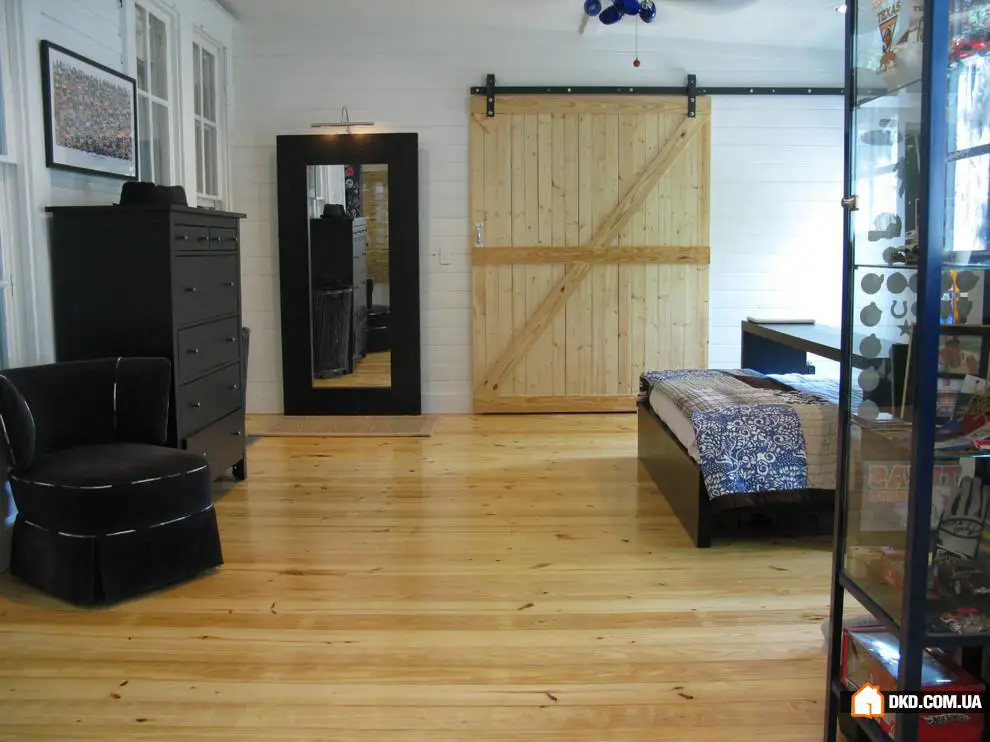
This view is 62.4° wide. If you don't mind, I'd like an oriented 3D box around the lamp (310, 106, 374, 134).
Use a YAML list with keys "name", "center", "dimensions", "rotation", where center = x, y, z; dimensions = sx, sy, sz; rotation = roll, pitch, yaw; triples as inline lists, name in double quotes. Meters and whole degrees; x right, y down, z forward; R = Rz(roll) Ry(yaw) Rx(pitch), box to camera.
- name: "lamp"
  center: [-1.219, -2.044, 6.660]
  dimensions: [0.411, 0.243, 0.375]
  rotation: [9, 15, 40]

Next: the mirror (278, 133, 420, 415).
- name: "mirror"
  center: [-1.176, -0.773, 6.721]
  dimensions: [1.132, 2.275, 0.224]
  rotation: [0, 12, 1]

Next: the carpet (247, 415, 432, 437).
- name: "carpet"
  center: [-1.194, 0.433, 6.495]
  dimensions: [1.433, 0.024, 0.671]
  rotation: [0, 11, 0]
